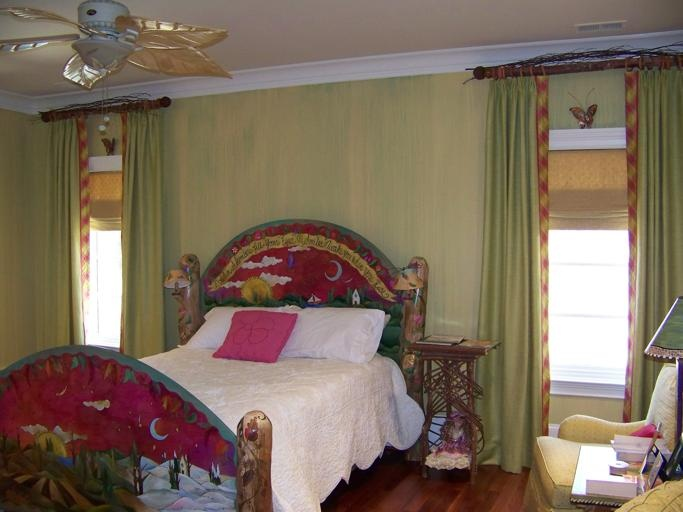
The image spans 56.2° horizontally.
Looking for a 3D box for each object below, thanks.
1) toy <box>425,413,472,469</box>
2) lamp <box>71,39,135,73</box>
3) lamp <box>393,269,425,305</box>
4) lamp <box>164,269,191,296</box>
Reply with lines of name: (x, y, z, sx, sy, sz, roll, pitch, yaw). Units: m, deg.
toy: (0.867, 1.504, 5.041, 0.312, 0.464, 0.139, 0, -33, 21)
lamp: (-1.413, -1.208, 3.822, 0.345, 0.150, 0.266, -3, 6, -13)
lamp: (0.553, 0.255, 5.241, 0.200, 0.180, 0.288, -1, 16, -5)
lamp: (-1.477, 0.238, 5.833, 0.221, 0.215, 0.227, -3, -2, 43)
